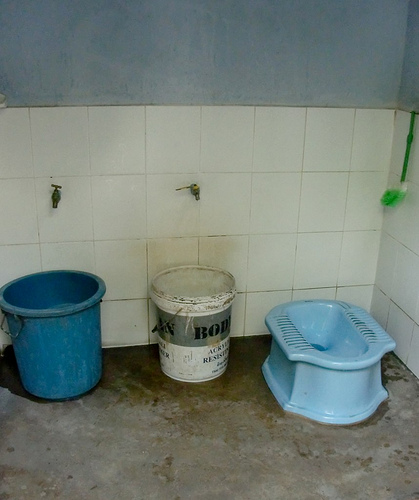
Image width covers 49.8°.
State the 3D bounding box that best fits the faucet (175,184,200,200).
[{"bbox_3d":[-0.113,-0.304,2.393,0.126,0.082,0.080,1,18,-2],"label":"faucet"}]

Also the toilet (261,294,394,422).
[{"bbox_3d":[0.600,0.530,2.325,0.594,0.293,0.704,-1,20,2],"label":"toilet"}]

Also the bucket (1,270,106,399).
[{"bbox_3d":[-0.758,0.435,2.256,0.482,0.546,0.487,1,18,0],"label":"bucket"}]

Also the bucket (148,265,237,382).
[{"bbox_3d":[-0.050,0.395,2.560,0.597,0.594,0.552,0,19,0],"label":"bucket"}]

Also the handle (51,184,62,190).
[{"bbox_3d":[-0.767,-0.319,2.276,0.020,0.023,0.064,8,19,-39],"label":"handle"}]
